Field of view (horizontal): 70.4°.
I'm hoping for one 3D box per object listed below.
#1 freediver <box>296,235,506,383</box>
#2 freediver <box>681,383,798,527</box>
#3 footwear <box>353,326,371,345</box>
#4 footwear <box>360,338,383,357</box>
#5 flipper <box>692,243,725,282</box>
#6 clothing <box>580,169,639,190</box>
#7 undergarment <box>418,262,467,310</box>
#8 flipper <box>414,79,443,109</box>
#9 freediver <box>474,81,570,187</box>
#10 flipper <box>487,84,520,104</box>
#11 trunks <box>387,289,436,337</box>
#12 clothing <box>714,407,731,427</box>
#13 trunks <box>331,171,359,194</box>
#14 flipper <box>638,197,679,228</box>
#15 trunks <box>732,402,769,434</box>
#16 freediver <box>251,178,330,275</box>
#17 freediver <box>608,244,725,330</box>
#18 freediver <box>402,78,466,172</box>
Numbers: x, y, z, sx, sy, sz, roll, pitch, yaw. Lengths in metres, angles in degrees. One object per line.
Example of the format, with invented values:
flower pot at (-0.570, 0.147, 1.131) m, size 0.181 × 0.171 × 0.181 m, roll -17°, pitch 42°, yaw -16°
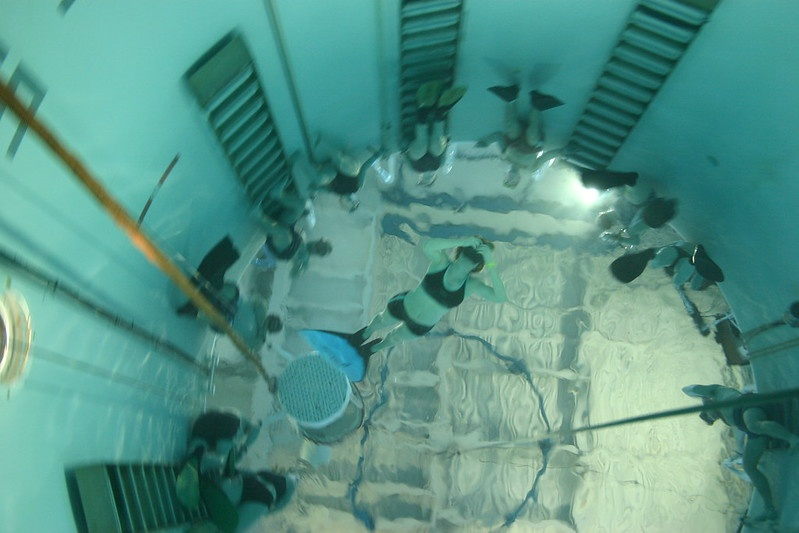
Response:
freediver at (0.036, 0.250, 3.753) m, size 0.767 × 1.452 × 0.335 m, roll 42°, pitch 31°, yaw -6°
freediver at (2.216, 1.246, 3.656) m, size 0.322 × 0.938 × 0.533 m, roll -7°, pitch 88°, yaw 21°
footwear at (-0.257, 0.479, 3.874) m, size 0.086 × 0.038 × 0.125 m, roll 31°, pitch 79°, yaw 16°
footwear at (-0.190, 0.545, 3.884) m, size 0.125 × 0.224 × 0.125 m, roll 3°, pitch 85°, yaw 7°
flipper at (2.169, -0.011, 4.019) m, size 0.272 × 0.152 × 0.063 m, roll 48°, pitch 43°, yaw 9°
clothing at (1.525, -0.623, 4.121) m, size 0.322 × 0.172 × 0.091 m, roll 12°, pitch 23°, yaw 24°
undergarment at (0.276, 0.129, 3.562) m, size 0.233 × 0.230 × 0.126 m, roll 23°, pitch 37°, yaw -17°
flipper at (0.205, -1.158, 3.845) m, size 0.105 × 0.159 × 0.033 m, roll 4°, pitch 62°, yaw -17°
freediver at (0.871, -0.905, 4.013) m, size 0.612 × 0.685 × 0.393 m, roll 19°, pitch 71°, yaw 9°
flipper at (0.720, -1.167, 3.849) m, size 0.123 × 0.090 × 0.030 m, roll -13°, pitch 42°, yaw 18°
trunks at (0.073, 0.337, 3.838) m, size 0.319 × 0.343 × 0.335 m, roll -4°, pitch 76°, yaw 14°
clothing at (2.193, 1.017, 3.843) m, size 0.088 × 0.099 × 0.106 m, roll 7°, pitch 84°, yaw 27°
trunks at (-0.399, -0.586, 4.225) m, size 0.153 × 0.162 × 0.176 m, roll 14°, pitch 89°, yaw 6°
flipper at (1.865, -0.386, 4.075) m, size 0.221 × 0.142 × 0.189 m, roll -31°, pitch 72°, yaw -9°
trunks at (2.303, 0.993, 3.702) m, size 0.092 × 0.179 × 0.131 m, roll 0°, pitch 47°, yaw -32°
freediver at (-0.787, -0.260, 3.991) m, size 0.363 × 0.525 × 0.290 m, roll 24°, pitch 77°, yaw 6°
freediver at (2.151, 0.039, 4.275) m, size 0.661 × 0.979 × 0.297 m, roll 3°, pitch 97°, yaw 29°
freediver at (0.338, -0.977, 4.042) m, size 0.335 × 0.644 × 0.509 m, roll 1°, pitch 90°, yaw 0°
